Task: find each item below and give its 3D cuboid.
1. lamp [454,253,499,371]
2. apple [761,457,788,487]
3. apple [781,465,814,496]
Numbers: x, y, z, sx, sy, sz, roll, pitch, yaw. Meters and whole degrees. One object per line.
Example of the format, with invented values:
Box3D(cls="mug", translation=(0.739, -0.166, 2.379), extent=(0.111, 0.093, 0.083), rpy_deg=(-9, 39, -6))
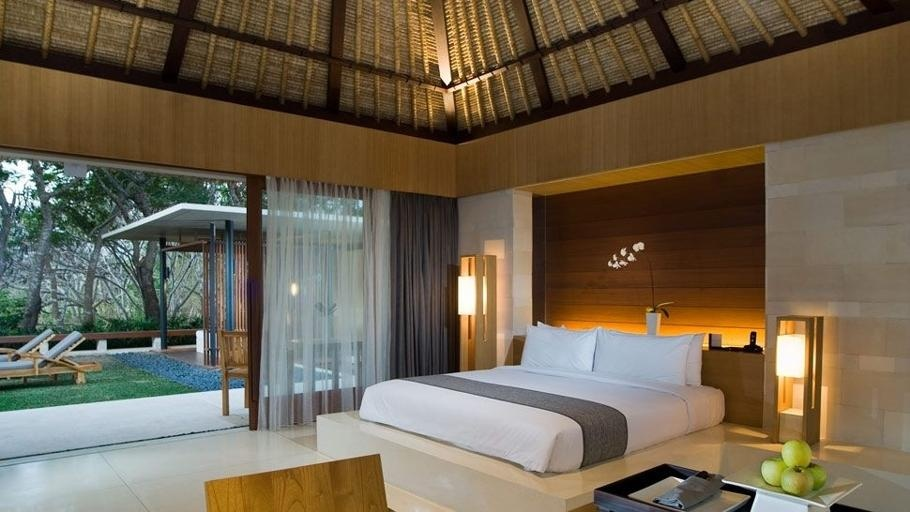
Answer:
Box3D(cls="lamp", translation=(0.371, 0.890, 8.779), extent=(0.609, 1.816, 0.417), rpy_deg=(0, -5, 4))
Box3D(cls="apple", translation=(2.583, 1.749, 4.495), extent=(0.213, 0.188, 0.204), rpy_deg=(-7, 7, 4))
Box3D(cls="apple", translation=(2.738, 1.805, 4.436), extent=(0.233, 0.221, 0.101), rpy_deg=(-2, -5, 20))
